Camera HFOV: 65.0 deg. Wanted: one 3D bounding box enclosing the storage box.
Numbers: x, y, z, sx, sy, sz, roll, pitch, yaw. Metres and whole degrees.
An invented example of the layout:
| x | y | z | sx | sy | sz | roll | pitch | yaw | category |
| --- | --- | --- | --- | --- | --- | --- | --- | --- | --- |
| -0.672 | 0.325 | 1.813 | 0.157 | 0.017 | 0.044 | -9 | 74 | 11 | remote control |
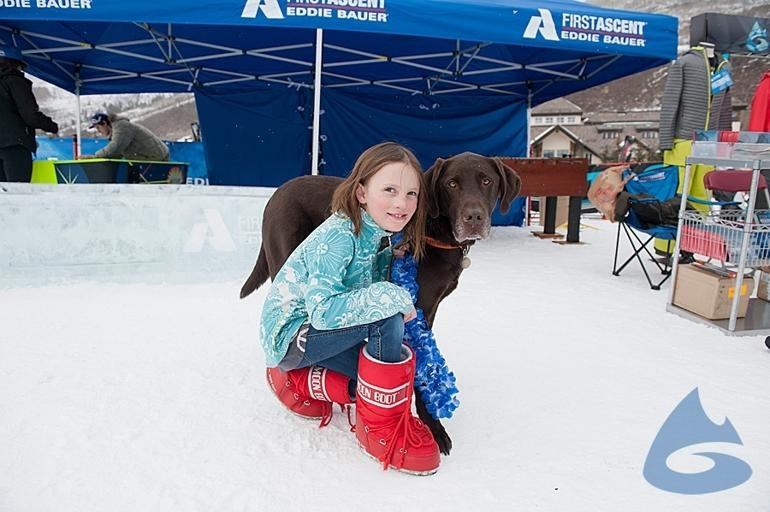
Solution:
| x | y | z | sx | sy | sz | roll | pitch | yaw | category |
| --- | --- | --- | --- | --- | --- | --- | --- | --- | --- |
| 3.225 | 0.344 | 6.039 | 0.354 | 0.473 | 0.651 | 0 | 13 | -12 | storage box |

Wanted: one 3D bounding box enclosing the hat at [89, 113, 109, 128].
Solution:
| x | y | z | sx | sy | sz | roll | pitch | yaw | category |
| --- | --- | --- | --- | --- | --- | --- | --- | --- | --- |
| -4.437 | -2.103 | 9.348 | 0.282 | 0.158 | 0.208 | 4 | 53 | 15 | hat |

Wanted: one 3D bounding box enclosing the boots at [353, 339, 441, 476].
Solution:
| x | y | z | sx | sy | sz | roll | pitch | yaw | category |
| --- | --- | --- | --- | --- | --- | --- | --- | --- | --- |
| 0.075 | 1.080 | 4.222 | 0.485 | 0.749 | 0.764 | -9 | 21 | -43 | boots |

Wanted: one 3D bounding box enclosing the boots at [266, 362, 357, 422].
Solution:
| x | y | z | sx | sy | sz | roll | pitch | yaw | category |
| --- | --- | --- | --- | --- | --- | --- | --- | --- | --- |
| -0.580 | 1.002 | 4.463 | 0.563 | 0.366 | 0.230 | 7 | 12 | 11 | boots |

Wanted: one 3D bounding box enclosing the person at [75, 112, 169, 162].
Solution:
| x | y | z | sx | sy | sz | roll | pitch | yaw | category |
| --- | --- | --- | --- | --- | --- | --- | --- | --- | --- |
| -3.838 | -1.779 | 9.206 | 1.421 | 0.855 | 0.858 | 3 | 17 | -12 | person |

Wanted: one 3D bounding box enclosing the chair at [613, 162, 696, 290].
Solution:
| x | y | z | sx | sy | sz | roll | pitch | yaw | category |
| --- | --- | --- | --- | --- | --- | --- | --- | --- | --- |
| 2.921 | -0.418 | 6.805 | 0.828 | 1.182 | 0.783 | 4 | 5 | 17 | chair |
